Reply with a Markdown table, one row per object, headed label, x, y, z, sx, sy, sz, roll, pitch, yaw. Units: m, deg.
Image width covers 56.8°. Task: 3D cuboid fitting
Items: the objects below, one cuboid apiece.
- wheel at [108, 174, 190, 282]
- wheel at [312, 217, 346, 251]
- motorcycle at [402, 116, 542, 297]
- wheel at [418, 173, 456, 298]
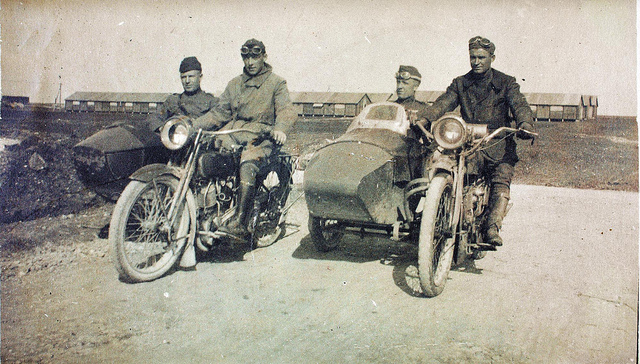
| label | x | y | z | sx | sy | sz | roll | pitch | yaw |
| --- | --- | --- | --- | --- | --- | --- | --- | --- | --- |
| wheel | -2.328 | 0.537 | 8.193 | 1.013 | 1.419 | 1.168 | 0 | 11 | -16 |
| wheel | 0.112 | 0.750 | 8.670 | 0.444 | 0.550 | 0.727 | 3 | 11 | -1 |
| motorcycle | 1.798 | 0.271 | 7.980 | 1.311 | 2.315 | 0.735 | -2 | 11 | -26 |
| wheel | 1.547 | 0.602 | 7.829 | 0.366 | 1.902 | 1.881 | 3 | 37 | 16 |
